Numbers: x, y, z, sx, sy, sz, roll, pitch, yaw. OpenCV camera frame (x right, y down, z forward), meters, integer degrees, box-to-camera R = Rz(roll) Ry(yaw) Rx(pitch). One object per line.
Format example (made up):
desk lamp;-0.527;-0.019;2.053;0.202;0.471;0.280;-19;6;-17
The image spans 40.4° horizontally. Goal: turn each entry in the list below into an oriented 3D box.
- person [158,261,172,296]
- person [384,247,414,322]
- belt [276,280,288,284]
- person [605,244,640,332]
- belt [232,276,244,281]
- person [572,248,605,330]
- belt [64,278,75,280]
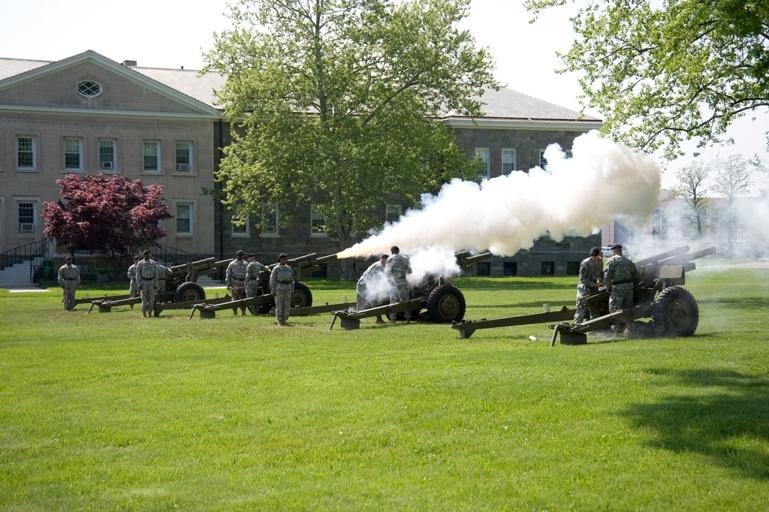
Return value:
person;-7.293;0.793;34.908;0.448;1.014;2.754;0;-2;-12
person;0.392;0.538;29.965;0.745;1.592;0.583;0;-2;-5
belt;-2.927;0.757;30.033;0.299;0.129;0.082;0;-2;-6
person;5.900;0.552;26.190;0.822;1.678;0.539;0;-2;5
belt;-4.699;0.742;33.826;0.335;0.171;0.081;1;-2;-27
person;5.198;0.729;26.835;0.718;1.919;0.914;-1;-2;10
belt;-10.571;0.773;35.225;0.313;0.078;0.073;0;-2;-16
